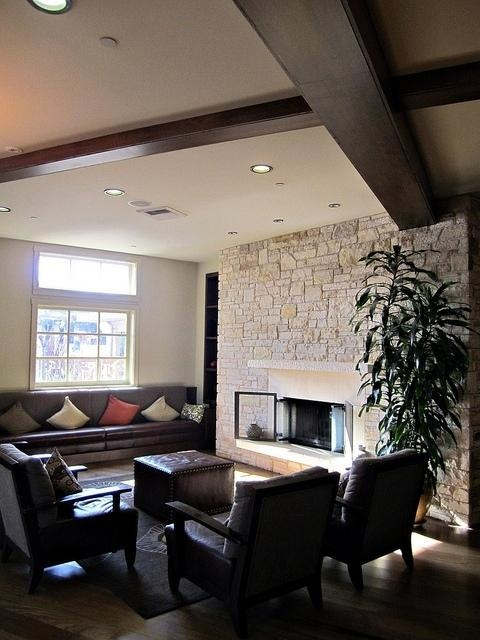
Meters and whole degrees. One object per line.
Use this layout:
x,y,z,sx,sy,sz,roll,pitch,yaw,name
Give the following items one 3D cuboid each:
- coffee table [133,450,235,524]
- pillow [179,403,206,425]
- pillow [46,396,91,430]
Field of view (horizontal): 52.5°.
-0.450,1.280,4.126,0.622,0.419,0.618,3,-4,-38,coffee table
-0.672,1.330,7.006,0.280,0.274,0.085,2,-28,39,pillow
-2.118,1.156,6.105,0.317,0.385,0.493,-1,-5,19,pillow
